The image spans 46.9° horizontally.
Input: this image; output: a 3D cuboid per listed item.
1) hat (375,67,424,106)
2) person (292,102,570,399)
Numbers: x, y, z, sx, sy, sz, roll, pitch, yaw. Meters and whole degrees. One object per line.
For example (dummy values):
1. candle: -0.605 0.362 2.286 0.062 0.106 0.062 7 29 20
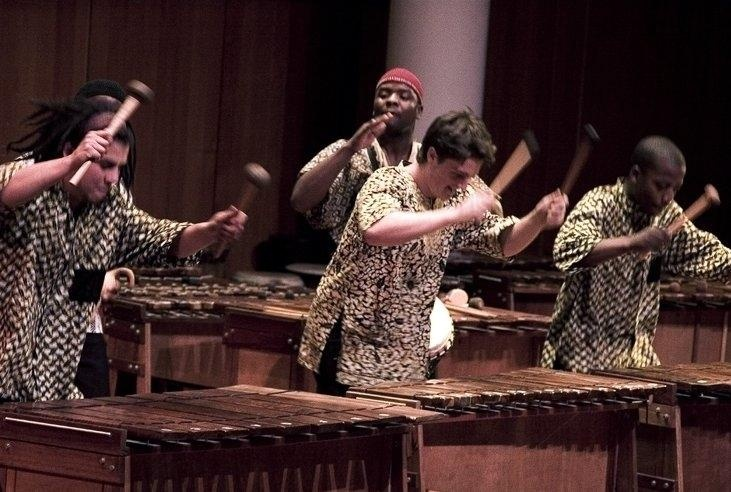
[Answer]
1. hat: 0.201 -0.850 4.456 0.237 0.148 0.240 14 0 39
2. person: 0.270 0.248 3.772 0.962 1.600 0.853 8 9 -9
